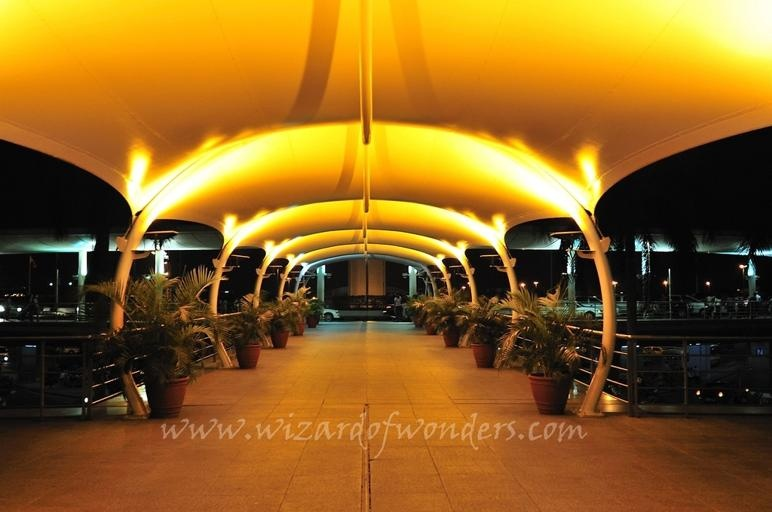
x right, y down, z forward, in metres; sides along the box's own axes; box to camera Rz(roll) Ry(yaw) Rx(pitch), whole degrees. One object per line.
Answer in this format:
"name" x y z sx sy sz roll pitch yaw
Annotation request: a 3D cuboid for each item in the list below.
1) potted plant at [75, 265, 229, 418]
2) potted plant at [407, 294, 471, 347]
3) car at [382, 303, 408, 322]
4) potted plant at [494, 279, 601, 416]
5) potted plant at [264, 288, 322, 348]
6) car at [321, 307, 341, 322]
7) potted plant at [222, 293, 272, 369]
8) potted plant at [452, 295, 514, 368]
"potted plant" -4.034 1.705 9.139 2.661 2.580 2.396 -6 -7 -15
"potted plant" 2.344 2.426 20.232 2.275 1.727 2.270 0 -8 -2
"car" 0.727 4.575 40.419 1.969 1.292 1.123 -1 -3 11
"potted plant" 2.719 1.806 9.552 2.267 2.388 1.939 5 -16 -14
"potted plant" -4.122 2.878 22.787 2.640 3.066 2.641 1 -15 1
"car" -4.443 4.779 40.646 0.948 0.756 1.640 0 -2 -27
"potted plant" -3.922 2.298 14.508 1.271 1.688 1.308 -8 -15 29
"potted plant" 2.871 2.318 15.137 2.180 2.201 2.126 1 -15 2
